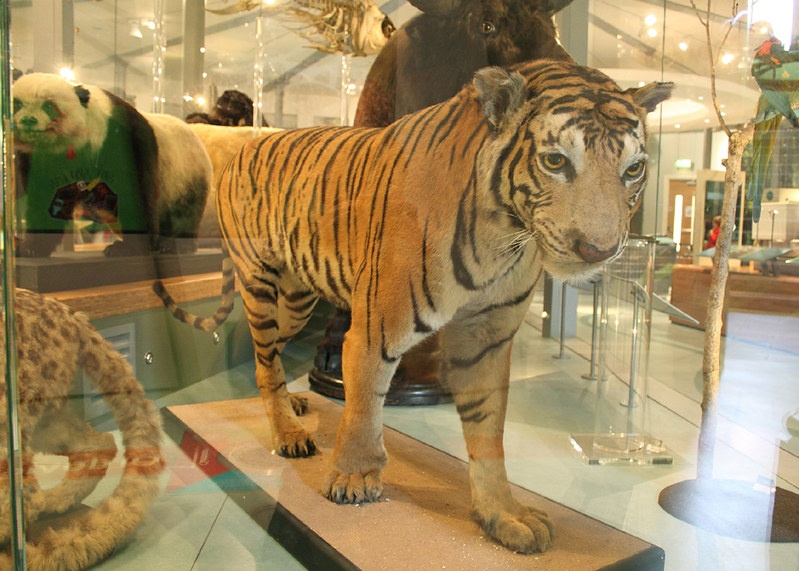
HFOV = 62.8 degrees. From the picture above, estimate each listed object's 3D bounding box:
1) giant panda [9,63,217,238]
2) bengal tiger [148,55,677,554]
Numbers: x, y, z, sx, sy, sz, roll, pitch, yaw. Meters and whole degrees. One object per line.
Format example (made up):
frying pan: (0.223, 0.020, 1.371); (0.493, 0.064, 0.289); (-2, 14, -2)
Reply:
giant panda: (-0.674, -0.261, 1.604); (0.242, 0.389, 0.687); (0, 2, 11)
bengal tiger: (0.015, 0.035, 1.586); (1.136, 1.030, 0.344); (6, 9, 43)
